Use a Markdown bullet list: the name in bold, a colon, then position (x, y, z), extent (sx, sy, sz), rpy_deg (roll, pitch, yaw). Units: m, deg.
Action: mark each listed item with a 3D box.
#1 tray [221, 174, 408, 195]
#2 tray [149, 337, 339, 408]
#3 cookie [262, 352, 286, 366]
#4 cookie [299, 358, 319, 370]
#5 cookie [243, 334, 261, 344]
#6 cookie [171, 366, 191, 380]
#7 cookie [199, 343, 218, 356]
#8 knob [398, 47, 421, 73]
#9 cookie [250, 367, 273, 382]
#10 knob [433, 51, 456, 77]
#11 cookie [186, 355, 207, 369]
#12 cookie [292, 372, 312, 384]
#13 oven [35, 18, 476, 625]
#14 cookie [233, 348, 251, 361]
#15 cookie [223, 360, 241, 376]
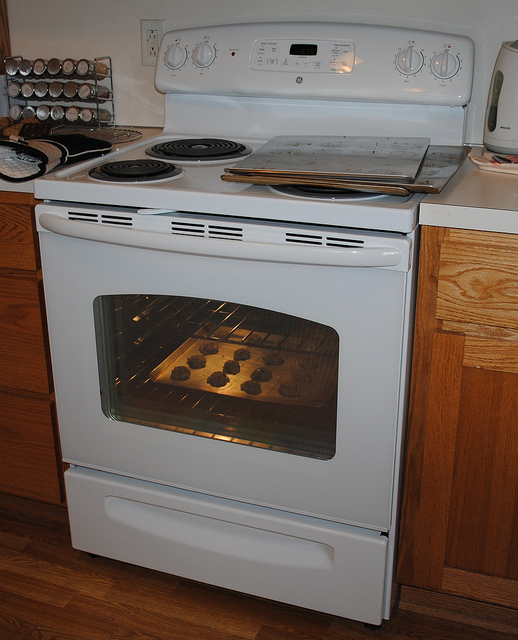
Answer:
- **tray**: position (0.077, -0.220, 0.926), extent (0.315, 0.017, 0.057), rpy_deg (11, 16, 28)
- **tray**: position (-0.015, 0.093, 1.025), extent (0.261, 0.025, 0.139), rpy_deg (7, 29, 18)
- **cookie**: position (0.024, 0.067, 0.988), extent (0.047, 0.027, 0.006), rpy_deg (13, 17, 33)
- **cookie**: position (0.084, 0.073, 0.965), extent (0.029, 0.021, 0.004), rpy_deg (5, 15, 6)
- **cookie**: position (-0.011, 0.032, 0.991), extent (0.030, 0.018, 0.005), rpy_deg (12, 17, 32)
- **cookie**: position (-0.147, 0.099, 1.093), extent (0.031, 0.028, 0.009), rpy_deg (25, 31, -1)
- **cookie**: position (-0.093, 0.052, 1.048), extent (0.028, 0.007, 0.024), rpy_deg (6, 33, 12)
- **knob**: position (0.317, -0.551, 1.217), extent (0.043, 0.048, 0.019), rpy_deg (7, 5, 8)
- **cookie**: position (0.003, 0.096, 1.020), extent (0.047, 0.032, 0.007), rpy_deg (13, 18, 34)
- **knob**: position (0.391, -0.536, 1.206), extent (0.049, 0.047, 0.017), rpy_deg (5, 8, 11)
- **cookie**: position (-0.117, 0.077, 1.073), extent (0.032, 0.025, 0.009), rpy_deg (-3, 24, 14)
- **cookie**: position (0.072, 0.097, 0.980), extent (0.034, 0.021, 0.006), rpy_deg (6, 15, 12)
- **oven**: position (0.025, -0.078, 1.273), extent (0.839, 1.011, 0.634), rpy_deg (6, 31, 14)
- **cookie**: position (-0.031, 0.061, 1.020), extent (0.009, 0.028, 0.035), rpy_deg (-11, 20, -43)
- **cookie**: position (-0.050, 0.086, 1.047), extent (0.024, 0.018, 0.032), rpy_deg (-15, 32, -33)
